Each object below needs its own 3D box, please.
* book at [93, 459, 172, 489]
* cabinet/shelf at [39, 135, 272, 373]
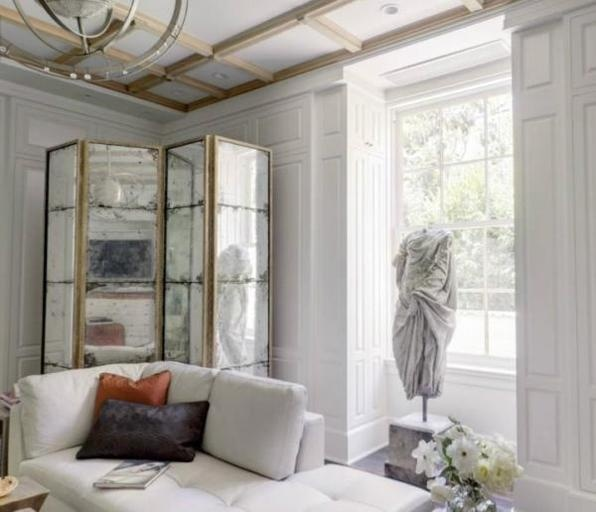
[{"bbox_3d":[-0.861,1.133,2.603,0.287,0.040,0.312,1,1,8],"label":"book"},{"bbox_3d":[-1.196,0.038,4.150,2.276,2.246,0.766,0,-1,-4],"label":"cabinet/shelf"}]
